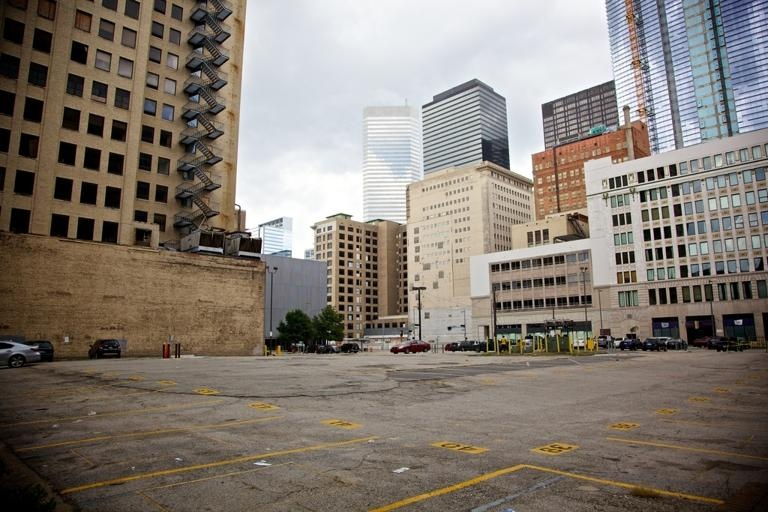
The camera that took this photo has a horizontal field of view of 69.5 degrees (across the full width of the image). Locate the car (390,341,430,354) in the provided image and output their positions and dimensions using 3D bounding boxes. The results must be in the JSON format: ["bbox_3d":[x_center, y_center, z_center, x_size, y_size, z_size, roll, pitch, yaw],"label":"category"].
[{"bbox_3d":[3.152,11.180,67.663,4.331,1.268,1.887,12,-18,-37],"label":"car"}]

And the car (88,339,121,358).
[{"bbox_3d":[-24.625,8.173,48.827,1.726,1.263,2.644,5,-6,-41],"label":"car"}]
